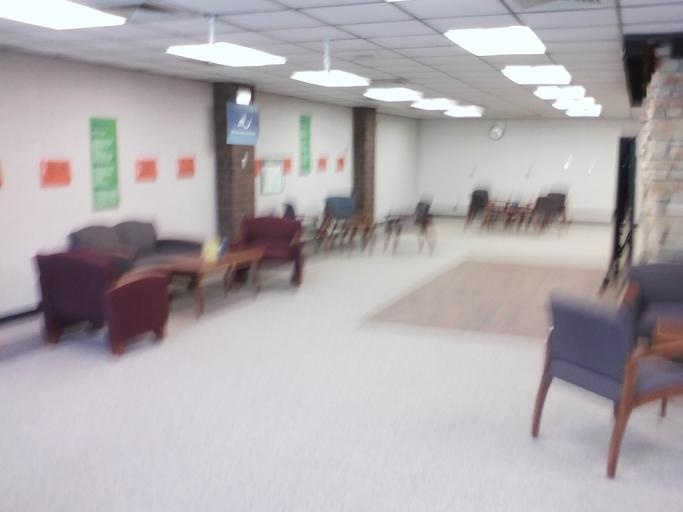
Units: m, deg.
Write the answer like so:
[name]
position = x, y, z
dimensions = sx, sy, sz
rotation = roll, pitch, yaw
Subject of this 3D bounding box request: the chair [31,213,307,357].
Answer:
[chair]
position = -2.330, 0.119, 6.372
dimensions = 2.202, 1.062, 3.719
rotation = 7, 14, 30
